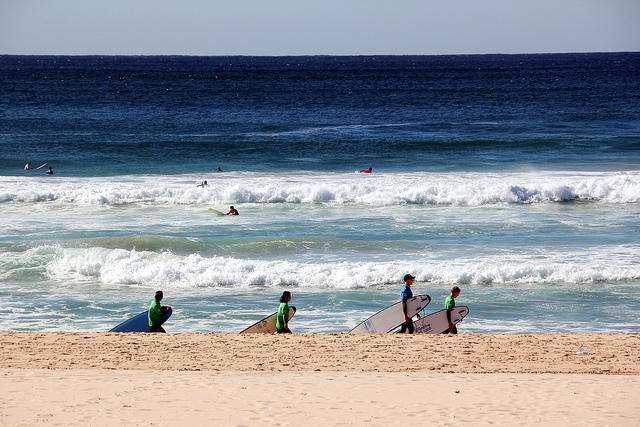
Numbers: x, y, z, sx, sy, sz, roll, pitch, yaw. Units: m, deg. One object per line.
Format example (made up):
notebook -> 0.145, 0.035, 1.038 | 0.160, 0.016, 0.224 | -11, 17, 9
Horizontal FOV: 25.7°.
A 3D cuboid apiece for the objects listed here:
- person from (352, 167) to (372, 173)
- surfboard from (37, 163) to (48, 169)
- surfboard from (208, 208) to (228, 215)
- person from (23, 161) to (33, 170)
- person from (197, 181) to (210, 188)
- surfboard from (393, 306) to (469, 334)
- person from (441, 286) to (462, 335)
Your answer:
person -> 3.323, -3.153, 106.674 | 1.411, 0.401, 1.185 | 1, -4, 5
surfboard -> -21.089, -3.501, 107.067 | 0.638, 0.514, 0.822 | 1, -4, -2
surfboard -> -7.158, -0.050, 99.000 | 1.273, 0.411, 0.441 | -1, -5, 33
person -> -22.159, -3.489, 106.770 | 0.700, 0.587, 0.735 | 2, -4, -12
person -> -8.387, -2.003, 101.971 | 0.687, 0.514, 0.922 | 0, -4, 21
surfboard -> 7.338, 6.535, 86.608 | 3.574, 1.669, 0.758 | 0, -4, 10
person -> 8.251, 6.141, 87.163 | 1.315, 3.253, 1.289 | -9, 40, -6
